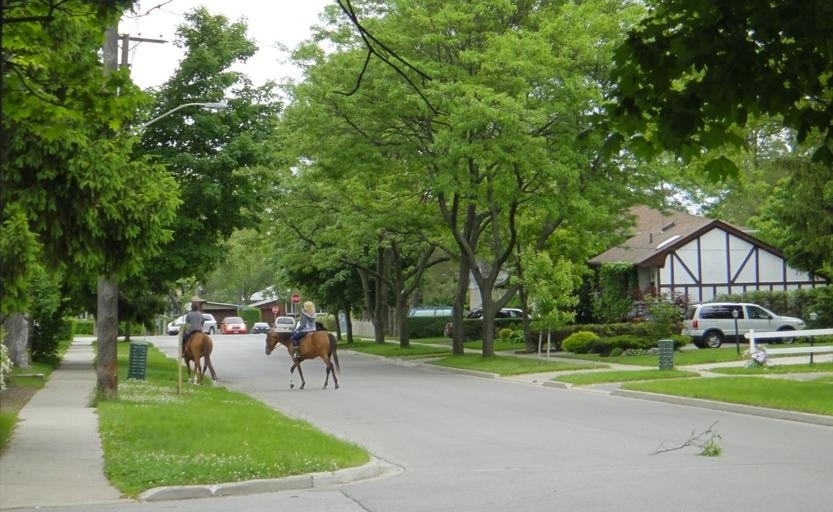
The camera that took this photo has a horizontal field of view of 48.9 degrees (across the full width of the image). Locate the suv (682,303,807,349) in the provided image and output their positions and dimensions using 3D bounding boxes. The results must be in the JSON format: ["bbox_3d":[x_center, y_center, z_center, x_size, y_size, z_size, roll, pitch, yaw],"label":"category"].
[{"bbox_3d":[15.236,3.345,41.812,5.384,1.919,2.396,-3,0,0],"label":"suv"}]

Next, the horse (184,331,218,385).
[{"bbox_3d":[-7.505,3.393,31.030,0.708,1.936,2.900,2,-8,-31],"label":"horse"}]

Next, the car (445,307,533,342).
[{"bbox_3d":[4.306,3.980,58.038,4.715,1.814,2.148,0,-3,6],"label":"car"}]

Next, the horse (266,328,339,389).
[{"bbox_3d":[-3.776,3.436,30.680,3.068,2.020,0.775,-7,-4,31],"label":"horse"}]
